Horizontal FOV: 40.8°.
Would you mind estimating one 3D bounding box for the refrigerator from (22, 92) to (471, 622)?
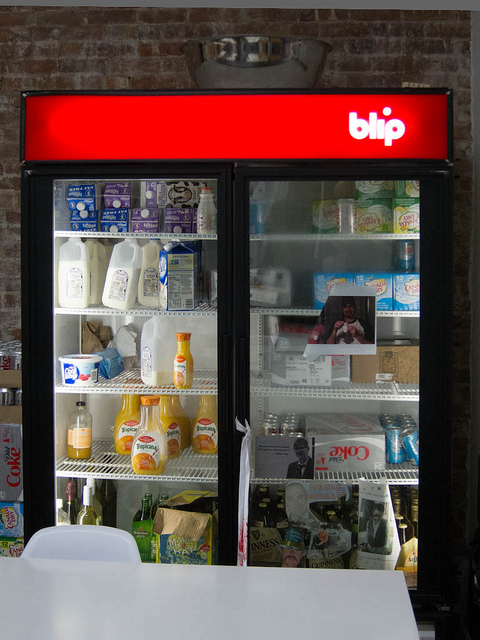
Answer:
[{"bbox_3d":[0.011,0.114,2.111,1.364,1.539,0.582,2,-3,4],"label":"refrigerator"}]

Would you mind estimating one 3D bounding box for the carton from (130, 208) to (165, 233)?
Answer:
[{"bbox_3d":[-0.314,-0.330,2.179,0.129,0.100,0.074,0,4,5],"label":"carton"}]

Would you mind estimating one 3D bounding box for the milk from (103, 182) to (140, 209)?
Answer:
[{"bbox_3d":[-0.399,-0.403,2.154,0.089,0.072,0.099,0,5,1],"label":"milk"}]

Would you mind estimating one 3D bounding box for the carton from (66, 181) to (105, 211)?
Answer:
[{"bbox_3d":[-0.508,-0.414,2.129,0.093,0.098,0.103,1,12,5],"label":"carton"}]

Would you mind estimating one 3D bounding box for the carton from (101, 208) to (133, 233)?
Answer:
[{"bbox_3d":[-0.414,-0.330,2.144,0.079,0.063,0.082,0,5,-1],"label":"carton"}]

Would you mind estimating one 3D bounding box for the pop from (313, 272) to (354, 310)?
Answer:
[{"bbox_3d":[0.284,-0.103,2.005,0.114,0.120,0.095,-2,11,5],"label":"pop"}]

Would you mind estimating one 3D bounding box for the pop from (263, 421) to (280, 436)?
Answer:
[{"bbox_3d":[0.104,0.362,2.141,0.038,0.042,0.040,0,-2,-10],"label":"pop"}]

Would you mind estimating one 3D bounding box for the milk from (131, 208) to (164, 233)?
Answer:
[{"bbox_3d":[-0.310,-0.330,2.142,0.105,0.110,0.079,0,5,3],"label":"milk"}]

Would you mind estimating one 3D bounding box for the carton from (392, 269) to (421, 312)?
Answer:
[{"bbox_3d":[0.558,-0.087,2.019,0.073,0.125,0.122,6,-3,-28],"label":"carton"}]

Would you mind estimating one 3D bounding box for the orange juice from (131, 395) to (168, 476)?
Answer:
[{"bbox_3d":[-0.299,0.384,2.152,0.117,0.268,0.069,3,9,8],"label":"orange juice"}]

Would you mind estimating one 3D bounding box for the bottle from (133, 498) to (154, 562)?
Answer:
[{"bbox_3d":[-0.334,0.726,2.257,0.072,0.250,0.070,3,18,-1],"label":"bottle"}]

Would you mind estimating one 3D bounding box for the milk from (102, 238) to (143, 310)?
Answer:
[{"bbox_3d":[-0.395,-0.162,2.203,0.116,0.242,0.090,9,2,5],"label":"milk"}]

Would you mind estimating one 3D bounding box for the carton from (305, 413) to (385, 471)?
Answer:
[{"bbox_3d":[0.347,0.396,2.086,0.213,0.166,0.140,-1,7,7],"label":"carton"}]

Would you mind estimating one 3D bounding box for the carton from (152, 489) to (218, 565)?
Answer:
[{"bbox_3d":[-0.166,0.673,2.137,0.171,0.323,0.158,1,8,16],"label":"carton"}]

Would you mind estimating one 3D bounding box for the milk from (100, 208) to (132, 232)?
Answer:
[{"bbox_3d":[-0.411,-0.328,2.144,0.078,0.063,0.080,0,5,-2],"label":"milk"}]

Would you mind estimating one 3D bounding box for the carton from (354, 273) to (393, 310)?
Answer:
[{"bbox_3d":[0.426,-0.084,2.034,0.105,0.118,0.037,0,-3,6],"label":"carton"}]

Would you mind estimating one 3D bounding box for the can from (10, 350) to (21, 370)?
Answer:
[{"bbox_3d":[-0.871,0.154,2.512,0.038,0.071,0.016,1,-3,18],"label":"can"}]

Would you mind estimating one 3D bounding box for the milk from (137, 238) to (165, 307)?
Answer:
[{"bbox_3d":[-0.299,-0.168,2.239,0.101,0.251,0.104,-7,-15,21],"label":"milk"}]

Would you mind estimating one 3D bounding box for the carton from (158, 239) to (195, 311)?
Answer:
[{"bbox_3d":[-0.206,-0.142,2.110,0.097,0.241,0.088,5,10,15],"label":"carton"}]

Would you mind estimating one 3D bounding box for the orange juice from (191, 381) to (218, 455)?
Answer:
[{"bbox_3d":[-0.118,0.338,2.281,0.109,0.272,0.069,1,10,-5],"label":"orange juice"}]

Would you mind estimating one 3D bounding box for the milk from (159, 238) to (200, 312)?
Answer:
[{"bbox_3d":[-0.205,-0.145,2.109,0.095,0.238,0.118,0,11,-4],"label":"milk"}]

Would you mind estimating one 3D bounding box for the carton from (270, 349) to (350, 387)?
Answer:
[{"bbox_3d":[0.222,0.163,2.075,0.177,0.094,0.132,1,1,3],"label":"carton"}]

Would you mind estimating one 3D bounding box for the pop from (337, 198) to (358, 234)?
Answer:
[{"bbox_3d":[0.341,-0.325,2.040,0.065,0.106,0.034,2,-3,9],"label":"pop"}]

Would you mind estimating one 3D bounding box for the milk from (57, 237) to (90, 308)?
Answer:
[{"bbox_3d":[-0.559,-0.157,2.179,0.118,0.263,0.109,-4,-8,8],"label":"milk"}]

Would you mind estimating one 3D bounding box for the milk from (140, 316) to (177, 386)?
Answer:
[{"bbox_3d":[-0.282,0.102,2.226,0.095,0.228,0.118,-2,3,34],"label":"milk"}]

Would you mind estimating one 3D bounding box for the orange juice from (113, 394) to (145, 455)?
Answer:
[{"bbox_3d":[-0.396,0.367,2.327,0.098,0.241,0.095,-1,11,-2],"label":"orange juice"}]

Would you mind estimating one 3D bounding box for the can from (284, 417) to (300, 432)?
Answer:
[{"bbox_3d":[0.179,0.356,2.216,0.045,0.089,0.047,-1,2,0],"label":"can"}]

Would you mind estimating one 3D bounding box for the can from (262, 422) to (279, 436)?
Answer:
[{"bbox_3d":[0.102,0.362,2.141,0.058,0.055,0.033,0,-5,2],"label":"can"}]

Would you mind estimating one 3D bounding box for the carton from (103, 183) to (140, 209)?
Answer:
[{"bbox_3d":[-0.397,-0.414,2.205,0.089,0.073,0.098,0,6,0],"label":"carton"}]

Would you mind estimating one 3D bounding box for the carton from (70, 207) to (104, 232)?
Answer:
[{"bbox_3d":[-0.502,-0.325,2.148,0.128,0.075,0.095,0,-15,-2],"label":"carton"}]

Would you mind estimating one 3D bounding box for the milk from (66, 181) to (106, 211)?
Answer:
[{"bbox_3d":[-0.519,-0.407,2.176,0.093,0.091,0.103,1,37,5],"label":"milk"}]

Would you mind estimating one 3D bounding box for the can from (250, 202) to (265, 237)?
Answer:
[{"bbox_3d":[0.056,-0.313,2.023,0.051,0.108,0.024,3,-3,-9],"label":"can"}]
